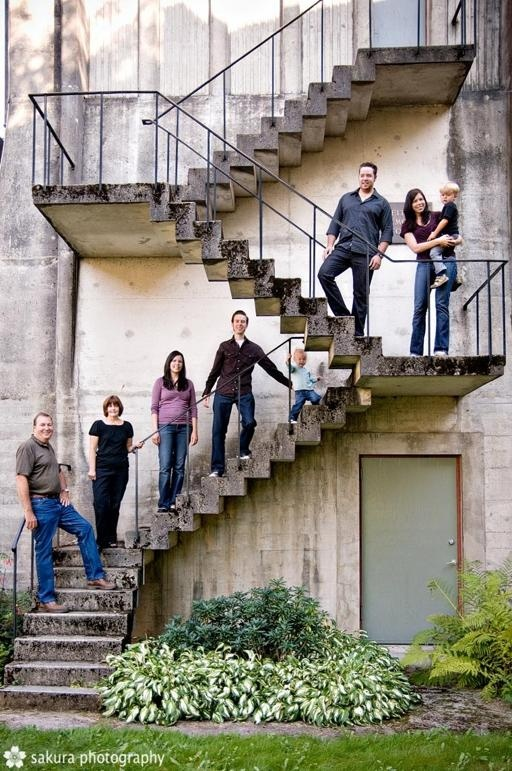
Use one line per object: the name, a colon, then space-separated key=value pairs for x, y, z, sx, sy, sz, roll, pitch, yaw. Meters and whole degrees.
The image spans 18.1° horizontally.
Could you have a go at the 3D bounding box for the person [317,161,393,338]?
person: x=0.911 y=-1.198 z=14.466 sx=0.670 sy=1.612 sz=0.566 roll=0 pitch=-7 yaw=5

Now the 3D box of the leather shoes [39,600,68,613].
leather shoes: x=-1.775 y=1.947 z=14.143 sx=0.243 sy=0.122 sz=0.104 roll=-1 pitch=-4 yaw=0

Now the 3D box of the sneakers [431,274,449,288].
sneakers: x=1.669 y=-0.932 z=14.397 sx=0.065 sy=0.078 sz=0.168 roll=-39 pitch=0 yaw=-26

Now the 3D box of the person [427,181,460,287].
person: x=1.703 y=-1.337 z=14.453 sx=0.264 sy=0.896 sz=0.601 roll=-1 pitch=-7 yaw=6

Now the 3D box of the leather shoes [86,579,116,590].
leather shoes: x=-1.369 y=1.777 z=14.264 sx=0.242 sy=0.130 sz=0.101 roll=-1 pitch=-6 yaw=3

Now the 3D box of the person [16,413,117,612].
person: x=-1.761 y=1.132 z=14.216 sx=0.898 sy=1.727 sz=0.357 roll=5 pitch=-8 yaw=-35
